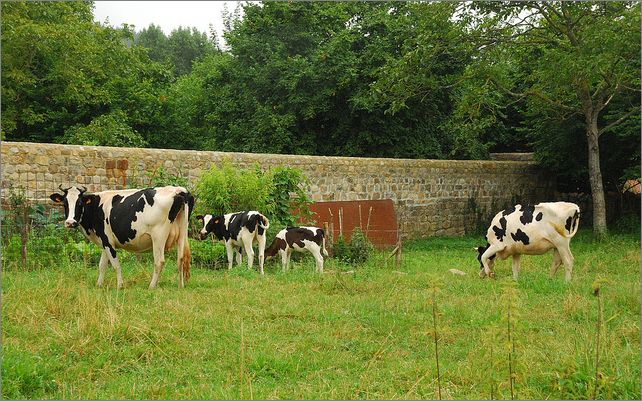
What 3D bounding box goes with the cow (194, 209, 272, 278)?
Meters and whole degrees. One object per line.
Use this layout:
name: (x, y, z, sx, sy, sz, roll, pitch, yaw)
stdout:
cow: (-2.489, 1.221, 15.727, 2.415, 1.705, 0.764, -2, 0, 36)
